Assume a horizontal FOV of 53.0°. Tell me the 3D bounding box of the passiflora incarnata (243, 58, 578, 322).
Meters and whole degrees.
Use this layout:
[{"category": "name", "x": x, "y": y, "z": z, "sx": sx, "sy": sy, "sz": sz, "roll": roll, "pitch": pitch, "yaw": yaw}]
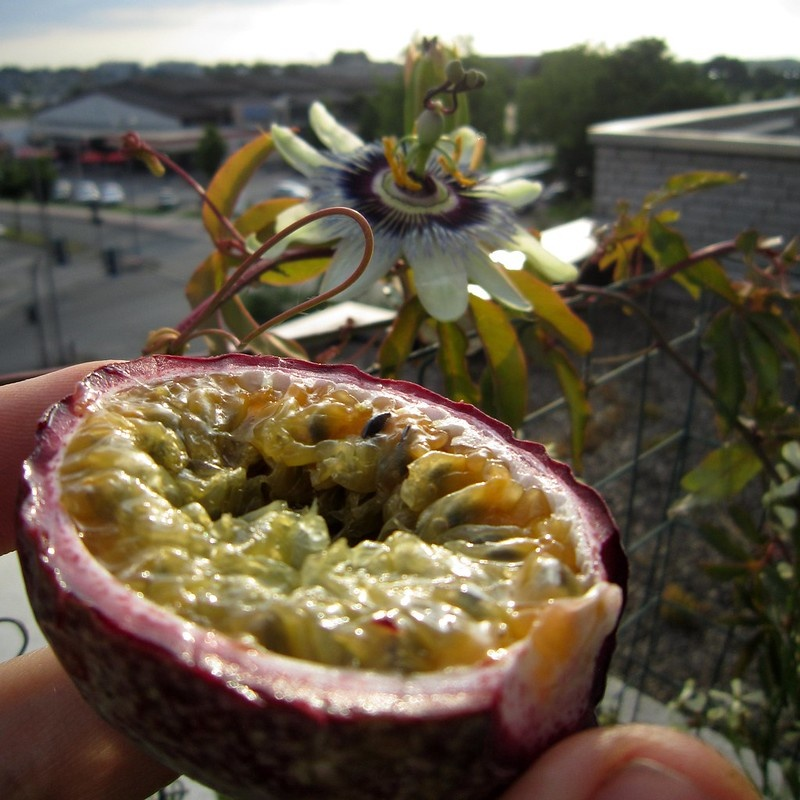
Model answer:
[{"category": "passiflora incarnata", "x": 0.017, "y": -0.159, "z": 0.588, "sx": 0.223, "sy": 0.159, "sz": 0.265, "roll": 0, "pitch": 18, "yaw": -9}]
